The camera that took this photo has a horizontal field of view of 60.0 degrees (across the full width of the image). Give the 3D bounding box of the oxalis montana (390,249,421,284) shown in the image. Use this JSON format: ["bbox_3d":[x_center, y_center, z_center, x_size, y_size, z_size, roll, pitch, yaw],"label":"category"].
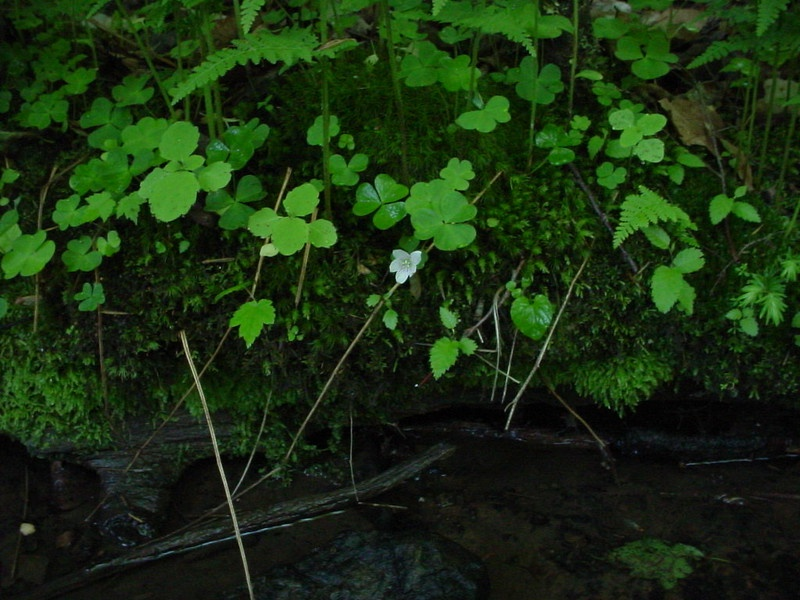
[{"bbox_3d":[0.031,-0.190,3.748,0.164,0.179,0.172,-7,18,-20],"label":"oxalis montana"}]
